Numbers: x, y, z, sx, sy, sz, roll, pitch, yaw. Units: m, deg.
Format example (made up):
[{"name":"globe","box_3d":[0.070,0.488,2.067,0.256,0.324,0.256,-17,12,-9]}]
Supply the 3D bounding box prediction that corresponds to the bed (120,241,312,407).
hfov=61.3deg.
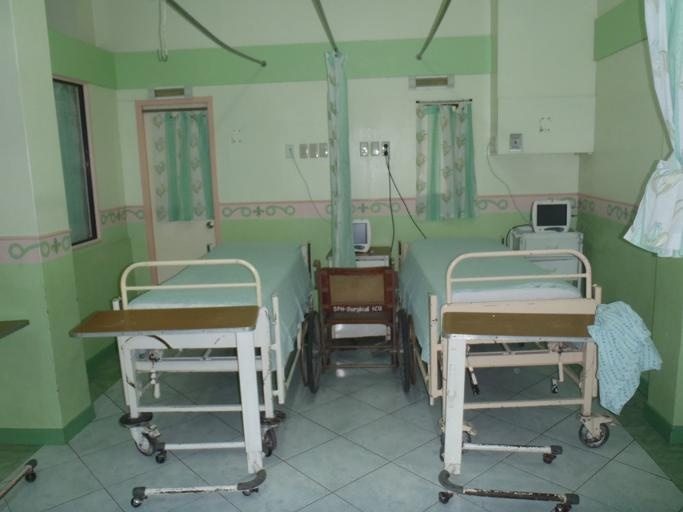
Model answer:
[{"name":"bed","box_3d":[-0.881,0.427,5.069,1.144,0.890,1.886,0,7,3]}]

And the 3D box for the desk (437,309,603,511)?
[{"name":"desk","box_3d":[1.216,0.915,4.354,1.335,1.663,1.039,2,8,10]}]

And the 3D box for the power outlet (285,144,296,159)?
[{"name":"power outlet","box_3d":[-0.581,-1.204,6.551,0.150,0.211,0.033,-1,8,-3]}]

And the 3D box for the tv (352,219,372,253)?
[{"name":"tv","box_3d":[0.153,-0.230,6.371,0.249,0.346,0.211,-4,10,-28]}]

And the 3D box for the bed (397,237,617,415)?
[{"name":"bed","box_3d":[1.232,0.407,5.025,1.077,0.908,1.973,0,12,2]}]

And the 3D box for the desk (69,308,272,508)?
[{"name":"desk","box_3d":[-0.990,0.907,4.328,1.579,1.536,1.042,2,15,-1]}]

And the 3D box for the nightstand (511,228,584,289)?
[{"name":"nightstand","box_3d":[2.189,-0.007,6.191,0.708,0.721,0.613,0,5,8]}]

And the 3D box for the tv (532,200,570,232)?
[{"name":"tv","box_3d":[2.212,-0.402,6.272,0.493,0.483,0.288,0,2,4]}]
